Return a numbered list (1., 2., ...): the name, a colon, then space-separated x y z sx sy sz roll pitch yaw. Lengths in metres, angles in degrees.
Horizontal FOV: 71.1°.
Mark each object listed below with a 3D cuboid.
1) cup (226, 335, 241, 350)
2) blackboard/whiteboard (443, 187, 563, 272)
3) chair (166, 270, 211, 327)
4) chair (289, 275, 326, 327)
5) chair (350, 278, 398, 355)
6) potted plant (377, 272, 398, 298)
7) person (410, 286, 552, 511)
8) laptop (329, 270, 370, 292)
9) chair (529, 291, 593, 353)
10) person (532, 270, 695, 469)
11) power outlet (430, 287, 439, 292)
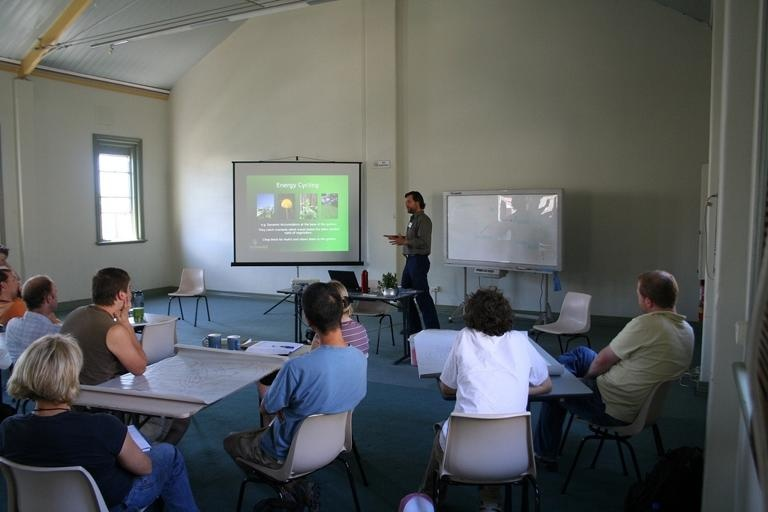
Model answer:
1. cup: -1.221 0.706 4.433 0.092 0.109 0.123 3 4 29
2. blackboard/whiteboard: 1.884 -0.424 8.208 1.326 0.895 0.192 1 4 29
3. chair: -3.201 0.653 8.792 0.490 0.856 0.485 4 5 5
4. chair: -1.057 0.693 7.228 0.416 0.407 0.439 -12 -12 28
5. chair: -0.184 0.906 7.630 0.609 1.121 0.749 0 -17 15
6. potted plant: 0.073 0.353 6.675 0.255 0.331 0.254 -3 5 -15
7. person: 0.670 0.953 3.436 0.886 1.497 0.513 -2 4 3
8. laptop: -0.449 0.292 6.859 0.330 0.206 0.282 3 2 21
9. chair: 2.081 0.853 6.240 0.615 0.814 0.644 -1 3 -4
10. person: 1.755 0.904 4.081 1.053 1.545 0.355 -1 5 23
11. power outlet: 0.891 0.560 9.271 0.148 0.101 0.081 1 4 20
